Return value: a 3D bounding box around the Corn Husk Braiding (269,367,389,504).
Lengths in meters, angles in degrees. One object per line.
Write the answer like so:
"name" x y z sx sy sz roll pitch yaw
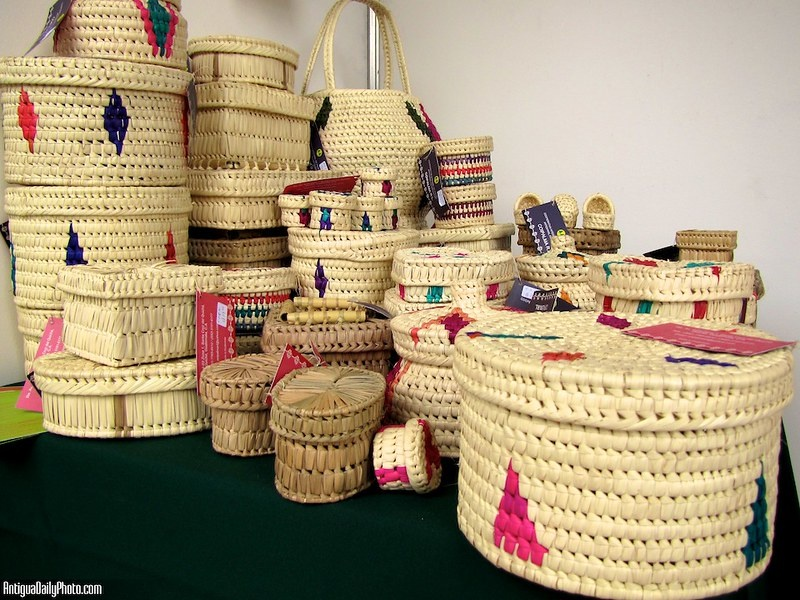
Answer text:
"Corn Husk Braiding" -0.130 0.240 1.307 0.204 0.198 0.181 1 8 -3

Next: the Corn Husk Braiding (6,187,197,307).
"Corn Husk Braiding" -0.734 -0.164 1.738 0.307 0.229 0.329 2 5 20

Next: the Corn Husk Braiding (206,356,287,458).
"Corn Husk Braiding" -0.303 0.208 1.430 0.147 0.152 0.162 2 6 10

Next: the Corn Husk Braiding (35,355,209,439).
"Corn Husk Braiding" -0.574 0.208 1.455 0.209 0.088 0.207 3 6 -4

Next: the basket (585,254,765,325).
"basket" 0.527 -0.030 1.373 0.200 0.100 0.173 3 7 15

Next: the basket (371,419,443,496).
"basket" 0.010 0.279 1.246 0.051 0.120 0.123 -11 -9 26

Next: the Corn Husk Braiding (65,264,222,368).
"Corn Husk Braiding" -0.590 0.022 1.575 0.274 0.178 0.269 -4 10 -41

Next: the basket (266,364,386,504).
"basket" -0.124 0.235 1.333 0.174 0.188 0.209 7 8 41

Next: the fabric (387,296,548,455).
"fabric" 0.123 0.123 1.411 0.256 0.247 0.257 -6 9 -33
